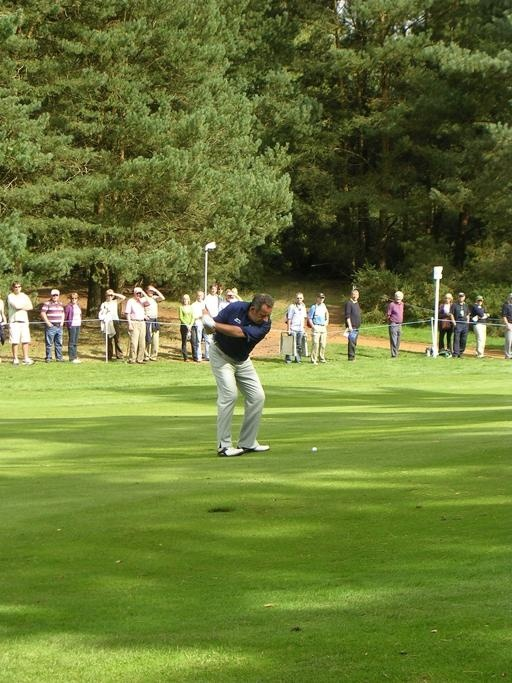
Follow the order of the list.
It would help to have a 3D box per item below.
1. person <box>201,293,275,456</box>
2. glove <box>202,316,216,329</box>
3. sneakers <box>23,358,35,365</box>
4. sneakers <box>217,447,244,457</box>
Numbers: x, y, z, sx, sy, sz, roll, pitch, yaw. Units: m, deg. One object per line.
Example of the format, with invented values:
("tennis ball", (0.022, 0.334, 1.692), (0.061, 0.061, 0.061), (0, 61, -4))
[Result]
("person", (-0.191, 0.312, 12.290), (0.588, 1.459, 0.986), (0, 3, -2))
("glove", (-0.433, -0.154, 12.036), (0.099, 0.115, 0.191), (0, 3, -3))
("sneakers", (-4.415, 0.422, 26.398), (0.116, 0.123, 0.285), (-2, -1, -37))
("sneakers", (-0.262, 1.011, 12.271), (0.232, 0.099, 0.088), (-4, -1, 23))
